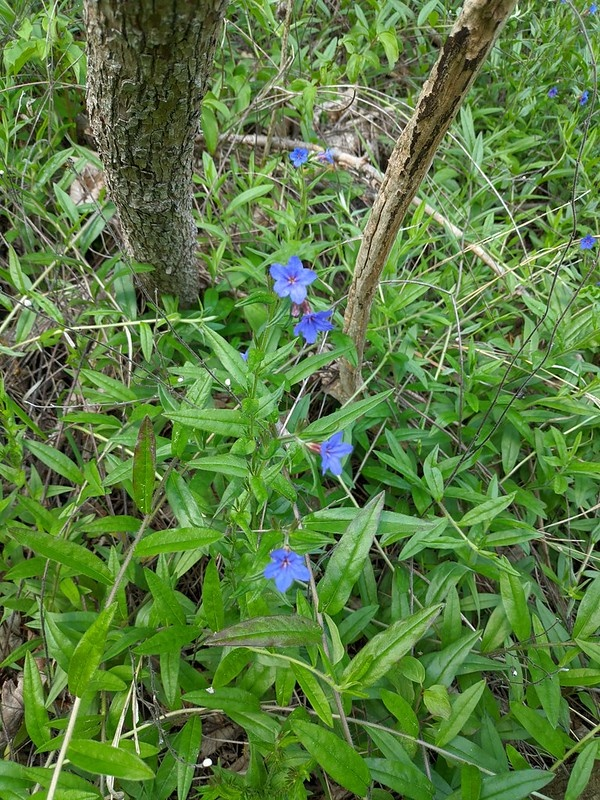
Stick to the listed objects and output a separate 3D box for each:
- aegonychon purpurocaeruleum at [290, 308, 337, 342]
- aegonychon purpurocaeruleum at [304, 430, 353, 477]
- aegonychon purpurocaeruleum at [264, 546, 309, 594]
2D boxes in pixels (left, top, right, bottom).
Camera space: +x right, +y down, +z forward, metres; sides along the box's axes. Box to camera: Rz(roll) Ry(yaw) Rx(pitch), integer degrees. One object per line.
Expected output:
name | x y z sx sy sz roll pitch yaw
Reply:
aegonychon purpurocaeruleum | 0.038 -0.215 2.175 0.114 0.035 0.113 34 80 -2
aegonychon purpurocaeruleum | 0.086 0.155 2.013 0.149 0.062 0.113 19 80 -37
aegonychon purpurocaeruleum | -0.044 0.445 1.875 0.106 0.148 0.110 7 50 -12
